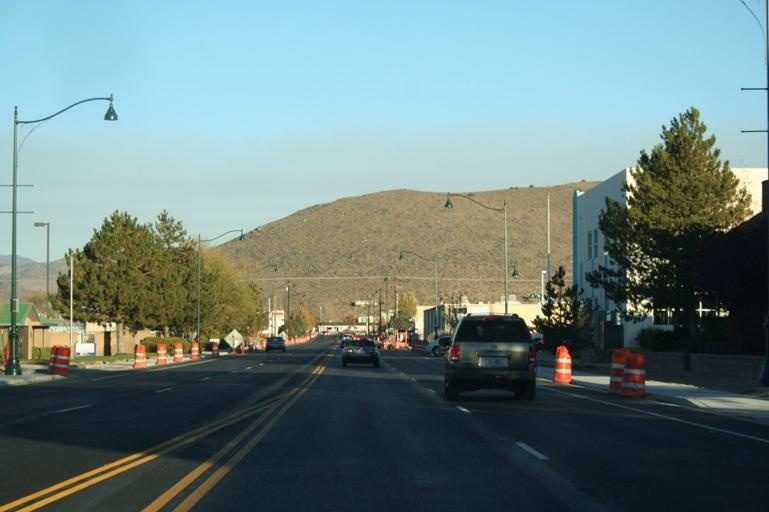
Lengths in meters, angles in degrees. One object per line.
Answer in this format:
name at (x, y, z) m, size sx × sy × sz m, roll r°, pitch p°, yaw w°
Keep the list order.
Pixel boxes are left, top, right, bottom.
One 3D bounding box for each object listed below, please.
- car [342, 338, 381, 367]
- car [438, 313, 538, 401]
car at (-1.392, 5.583, 55.414) m, size 2.056 × 1.755 × 1.760 m, roll 1°, pitch -7°, yaw -7°
car at (3.759, 3.382, 35.580) m, size 2.857 × 3.380 × 6.117 m, roll 0°, pitch 5°, yaw 0°
